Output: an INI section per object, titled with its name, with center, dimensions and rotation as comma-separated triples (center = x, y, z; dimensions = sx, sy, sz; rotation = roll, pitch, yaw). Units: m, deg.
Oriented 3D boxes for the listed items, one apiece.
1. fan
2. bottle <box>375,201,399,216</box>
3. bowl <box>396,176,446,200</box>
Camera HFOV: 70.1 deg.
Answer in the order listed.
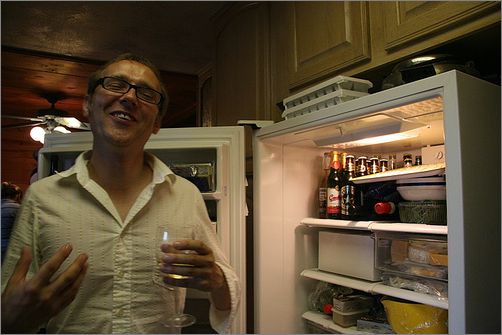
[fan]
center = -2.582, -0.717, 4.429
dimensions = 0.831, 0.290, 0.740
rotation = -2, -13, 3
[bottle]
center = 0.664, 0.193, 1.747
dimensions = 0.119, 0.054, 0.045
rotation = 4, -3, -33
[bowl]
center = 0.761, 0.092, 1.593
dimensions = 0.064, 0.112, 0.211
rotation = 4, -3, -31
